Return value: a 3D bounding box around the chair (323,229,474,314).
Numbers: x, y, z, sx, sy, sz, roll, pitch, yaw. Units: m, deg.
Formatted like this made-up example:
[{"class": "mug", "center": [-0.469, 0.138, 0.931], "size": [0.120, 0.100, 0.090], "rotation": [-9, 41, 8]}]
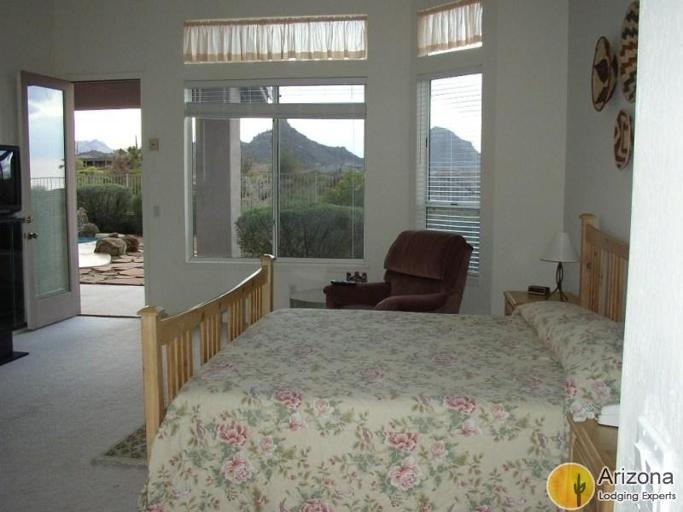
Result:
[{"class": "chair", "center": [0.480, 0.117, 4.467], "size": [0.791, 1.005, 0.957], "rotation": [4, 0, -35]}]
